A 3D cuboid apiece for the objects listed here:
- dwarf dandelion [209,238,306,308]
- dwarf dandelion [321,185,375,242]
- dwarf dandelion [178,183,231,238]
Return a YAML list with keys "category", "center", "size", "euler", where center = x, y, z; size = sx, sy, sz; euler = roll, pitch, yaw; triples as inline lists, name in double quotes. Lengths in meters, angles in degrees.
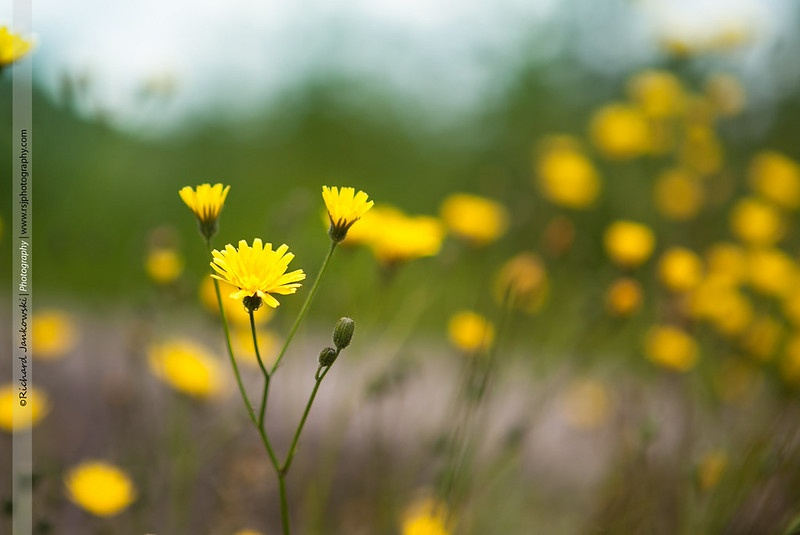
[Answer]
- category: "dwarf dandelion"
  center: [-0.141, 0.002, 0.902]
  size: [0.079, 0.073, 0.067]
  euler: [9, -12, -44]
- category: "dwarf dandelion"
  center: [-0.053, -0.056, 0.951]
  size: [0.049, 0.065, 0.062]
  euler: [0, -8, 0]
- category: "dwarf dandelion"
  center: [-0.207, -0.061, 0.955]
  size: [0.048, 0.056, 0.054]
  euler: [-2, 5, -10]
